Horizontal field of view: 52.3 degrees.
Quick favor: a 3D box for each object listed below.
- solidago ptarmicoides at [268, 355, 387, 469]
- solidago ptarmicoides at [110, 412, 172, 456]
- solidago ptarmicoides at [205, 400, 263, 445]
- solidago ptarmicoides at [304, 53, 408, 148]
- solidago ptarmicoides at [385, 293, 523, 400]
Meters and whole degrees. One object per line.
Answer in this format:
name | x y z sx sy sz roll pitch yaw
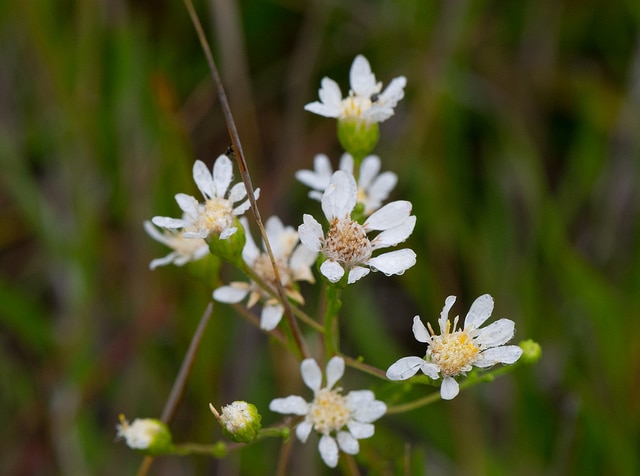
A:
solidago ptarmicoides | 0.040 0.971 3.425 0.518 0.594 0.237 -14 -46 -25
solidago ptarmicoides | -0.989 1.091 3.621 0.298 0.219 0.118 19 -14 -20
solidago ptarmicoides | -0.472 0.943 3.462 0.262 0.225 0.300 3 -51 -11
solidago ptarmicoides | 0.231 -0.711 3.799 0.575 0.411 0.770 -1 -17 -1
solidago ptarmicoides | 0.689 0.558 3.363 0.688 0.467 0.335 -6 -4 -28
